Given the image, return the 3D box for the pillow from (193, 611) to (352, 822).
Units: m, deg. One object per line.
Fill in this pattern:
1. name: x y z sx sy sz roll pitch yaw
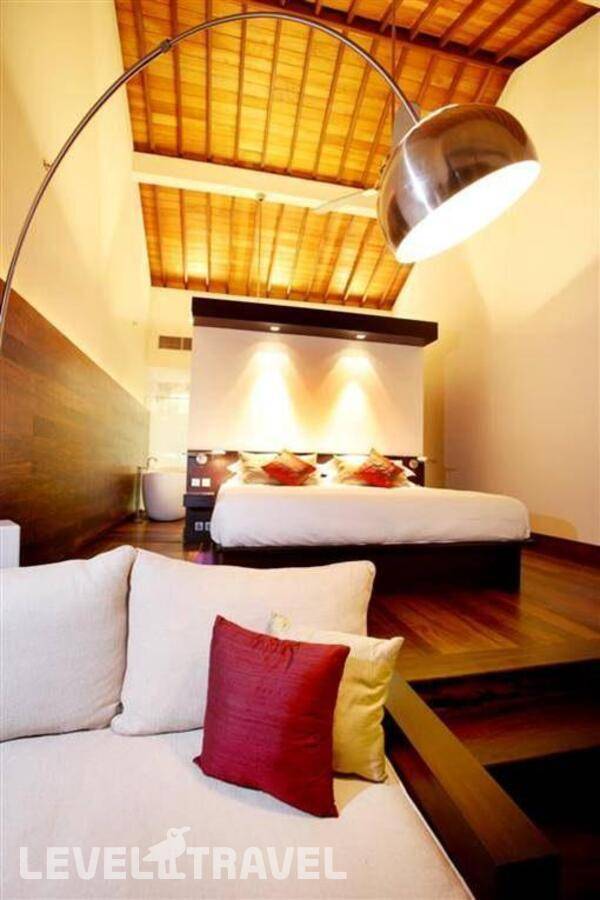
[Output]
1. pillow: -0.057 0.565 1.260 0.255 0.295 0.111 2 -41 11

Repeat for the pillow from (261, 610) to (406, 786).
1. pillow: 0.063 0.565 1.445 0.313 0.150 0.342 7 39 13
